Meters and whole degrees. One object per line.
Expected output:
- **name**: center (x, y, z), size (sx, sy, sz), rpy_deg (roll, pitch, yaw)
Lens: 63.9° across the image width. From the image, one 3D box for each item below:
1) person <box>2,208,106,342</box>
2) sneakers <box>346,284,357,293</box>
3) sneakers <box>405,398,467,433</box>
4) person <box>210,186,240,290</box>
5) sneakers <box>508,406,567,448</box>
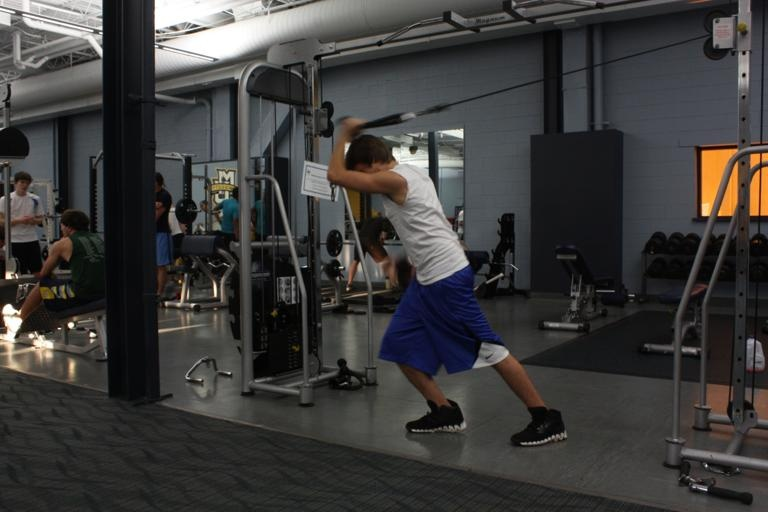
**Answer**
- **person**: center (-3.241, 0.191, 6.118), size (1.283, 1.279, 0.474), rpy_deg (4, 9, 32)
- **sneakers**: center (-0.560, 0.560, 10.603), size (0.124, 0.161, 0.402), rpy_deg (-1, -3, 8)
- **sneakers**: center (0.367, 1.103, 4.249), size (0.488, 0.252, 0.169), rpy_deg (1, -3, 4)
- **person**: center (-2.375, -0.416, 9.355), size (0.591, 1.278, 0.383), rpy_deg (30, 22, 36)
- **sneakers**: center (1.007, 1.112, 4.006), size (0.450, 0.244, 0.167), rpy_deg (-2, -3, -13)
